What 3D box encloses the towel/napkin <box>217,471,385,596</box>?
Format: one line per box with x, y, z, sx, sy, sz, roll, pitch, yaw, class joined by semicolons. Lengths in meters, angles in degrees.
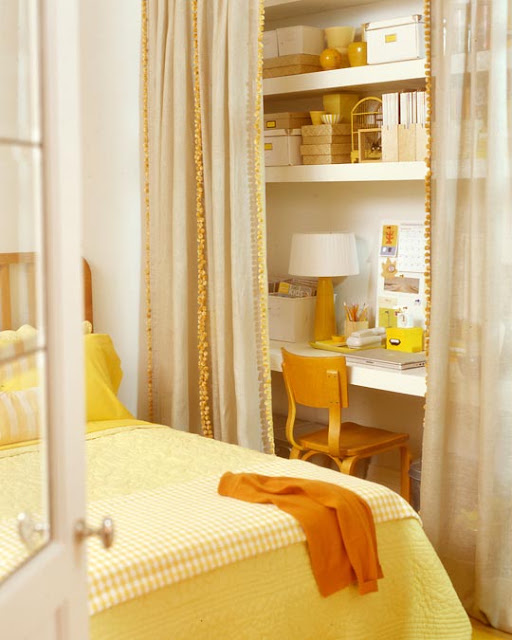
0.147;0.645;1.887;0.290;0.309;0.476;-6;5;-41;towel/napkin

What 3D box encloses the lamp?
0.321;-0.241;3.462;0.532;0.853;0.544;-1;7;-4;lamp
